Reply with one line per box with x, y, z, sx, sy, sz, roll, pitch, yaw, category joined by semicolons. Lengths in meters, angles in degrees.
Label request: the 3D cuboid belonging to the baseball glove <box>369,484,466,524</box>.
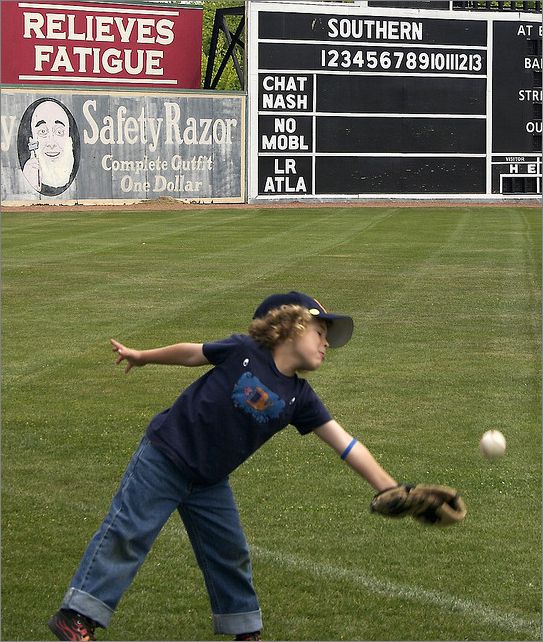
0.488;0.598;3.382;0.208;0.109;0.155;9;-9;-32;baseball glove

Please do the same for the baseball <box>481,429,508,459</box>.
0.855;0.475;4.030;0.096;0.114;0.101;4;4;6;baseball

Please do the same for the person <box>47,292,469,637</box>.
-0.130;0.526;3.496;1.214;1.239;0.584;-1;3;-14;person
